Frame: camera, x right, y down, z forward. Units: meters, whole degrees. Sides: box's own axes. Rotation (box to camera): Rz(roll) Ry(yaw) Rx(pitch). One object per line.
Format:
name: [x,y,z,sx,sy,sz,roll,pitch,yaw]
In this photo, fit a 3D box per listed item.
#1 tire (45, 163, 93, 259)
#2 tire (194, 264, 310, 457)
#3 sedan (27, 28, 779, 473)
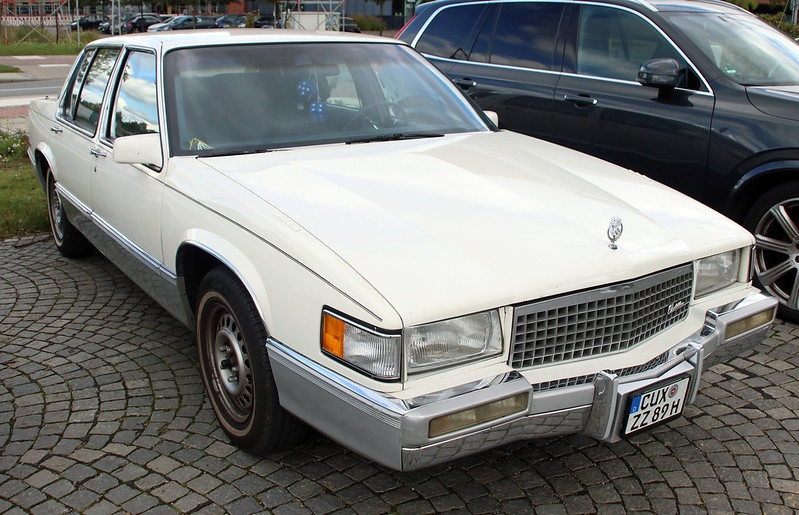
tire: [-3.181,-0.445,5.625,0.248,0.709,0.721,-11,50,-37]
tire: [-0.932,0.640,3.758,0.402,1.145,1.220,-10,15,-34]
sedan: [-0.947,-0.529,4.476,2.586,1.417,5.574,-13,26,-36]
